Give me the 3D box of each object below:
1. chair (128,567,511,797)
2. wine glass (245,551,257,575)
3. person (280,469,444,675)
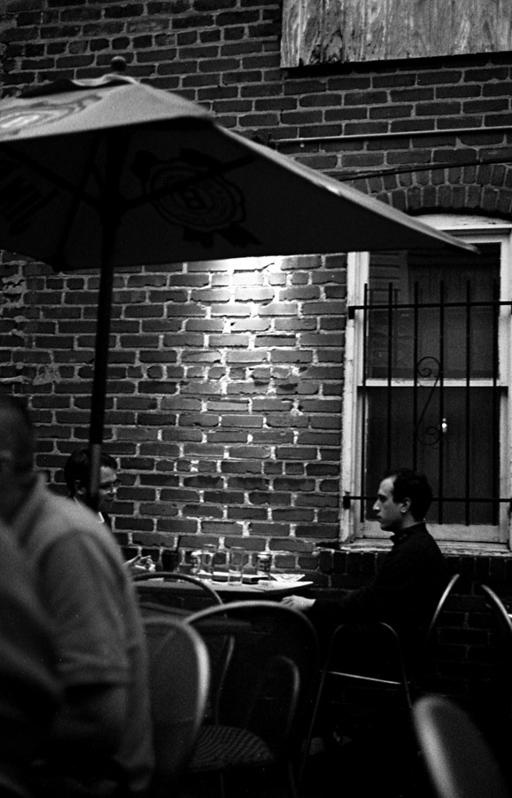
[{"bbox_3d":[0.191,0.814,3.800,0.814,0.879,0.589,0,7,15],"label":"chair"},{"bbox_3d":[-0.023,0.643,5.250,0.048,0.053,0.017,7,-7,-3],"label":"wine glass"},{"bbox_3d":[0.390,0.709,4.643,0.498,0.895,0.419,6,-1,7],"label":"person"}]
